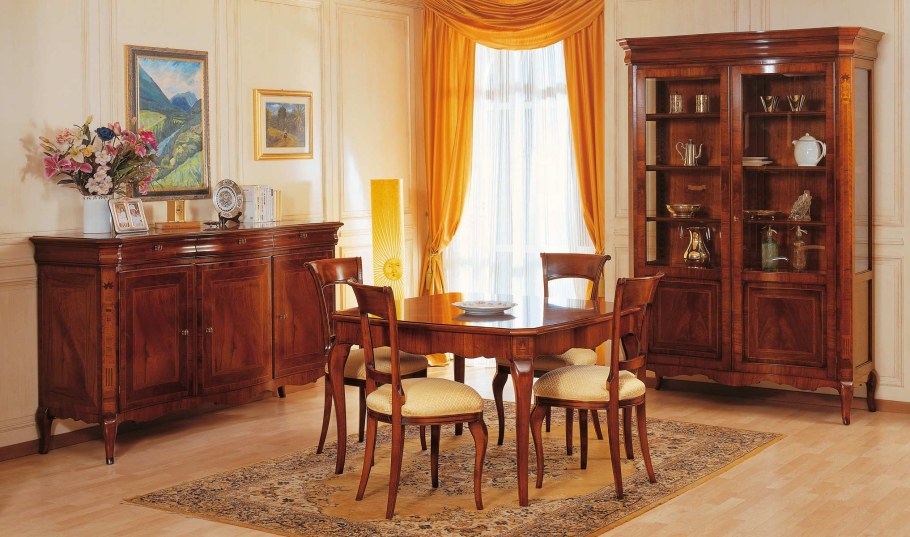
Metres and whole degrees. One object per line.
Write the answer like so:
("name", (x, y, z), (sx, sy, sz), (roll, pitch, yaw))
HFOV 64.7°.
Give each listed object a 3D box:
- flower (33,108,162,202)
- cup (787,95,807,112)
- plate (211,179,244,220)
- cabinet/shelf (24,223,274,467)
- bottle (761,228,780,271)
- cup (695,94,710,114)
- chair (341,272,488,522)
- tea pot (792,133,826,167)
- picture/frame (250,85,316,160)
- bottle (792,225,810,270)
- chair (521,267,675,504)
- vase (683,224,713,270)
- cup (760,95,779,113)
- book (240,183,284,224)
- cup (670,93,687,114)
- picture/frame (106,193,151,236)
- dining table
("flower", (-2.999, -0.930, 6.075), (0.807, 0.470, 0.712), (-1, -3, 39))
("cup", (3.060, -1.474, 6.431), (0.167, 0.115, 0.160), (1, 1, 0))
("plate", (-2.125, -0.640, 6.707), (0.387, 0.320, 0.095), (5, 9, 23))
("cabinet/shelf", (-2.770, 0.623, 6.582), (1.127, 1.959, 2.627), (0, 1, 21))
("bottle", (2.880, -0.176, 6.562), (0.156, 0.373, 0.092), (2, 11, 20))
("cup", (2.322, -1.533, 6.738), (0.193, 0.168, 0.177), (0, 2, 0))
("chair", (-0.265, 0.820, 5.104), (0.916, 1.506, 1.017), (-1, 10, -1))
("tea pot", (3.224, -1.066, 6.471), (0.280, 0.309, 0.352), (-9, 17, -16))
("picture/frame", (-1.807, -1.500, 7.384), (0.958, 0.817, 0.071), (-3, 2, -44))
("bottle", (3.110, -0.178, 6.468), (0.136, 0.378, 0.078), (3, 11, 22))
("chair", (1.026, 0.822, 5.319), (0.971, 1.381, 0.827), (-4, -2, 20))
("vase", (2.317, -0.183, 6.887), (0.298, 0.350, 0.274), (0, 3, 27))
("cup", (2.867, -1.502, 6.594), (0.169, 0.122, 0.186), (-1, 2, 0))
("book", (-1.799, -0.603, 6.928), (0.387, 0.428, 0.510), (-2, 5, -42))
("cup", (2.118, -1.555, 6.824), (0.204, 0.179, 0.184), (0, 5, 9))
("picture/frame", (-2.810, -0.453, 6.120), (0.036, 0.396, 0.452), (-21, -9, 37))
("dining table", (-0.171, 0.909, 5.454), (1.864, 0.853, 1.785), (0, -10, 26))
